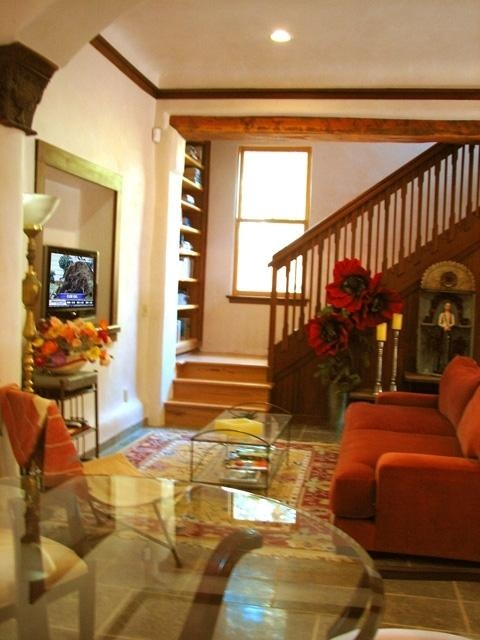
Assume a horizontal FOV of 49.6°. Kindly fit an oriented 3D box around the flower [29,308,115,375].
[{"bbox_3d":[-0.964,0.119,3.046,0.389,0.246,0.382,-1,0,17],"label":"flower"}]

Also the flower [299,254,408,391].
[{"bbox_3d":[1.090,-0.071,5.164,0.803,1.125,0.913,5,-1,34],"label":"flower"}]

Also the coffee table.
[{"bbox_3d":[-0.083,0.943,3.657,0.546,0.330,0.727,7,-9,-8],"label":"coffee table"}]

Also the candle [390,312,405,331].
[{"bbox_3d":[1.508,0.019,5.008,0.073,0.162,0.240,2,-2,23],"label":"candle"}]

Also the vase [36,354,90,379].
[{"bbox_3d":[-1.020,0.278,3.030,0.177,0.071,0.172,-5,7,-35],"label":"vase"}]
